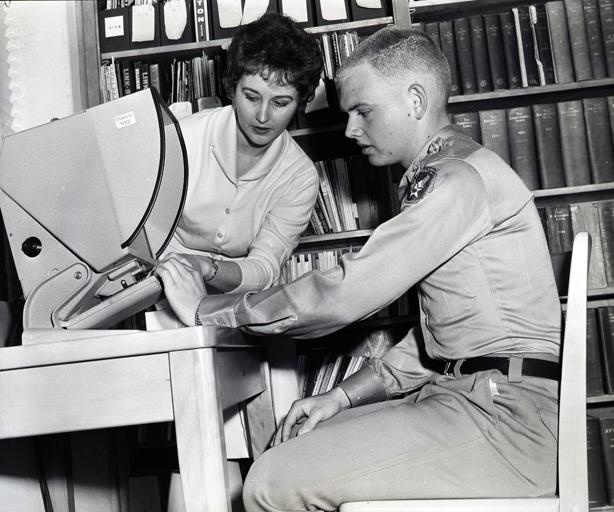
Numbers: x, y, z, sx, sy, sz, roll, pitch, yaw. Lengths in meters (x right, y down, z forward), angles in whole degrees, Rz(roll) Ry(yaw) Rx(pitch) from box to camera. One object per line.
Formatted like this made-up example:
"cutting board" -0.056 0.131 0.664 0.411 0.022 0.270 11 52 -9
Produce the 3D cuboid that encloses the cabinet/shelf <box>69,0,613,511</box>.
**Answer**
"cabinet/shelf" 0.142 0.132 1.803 0.909 1.713 0.706 0 -10 10
